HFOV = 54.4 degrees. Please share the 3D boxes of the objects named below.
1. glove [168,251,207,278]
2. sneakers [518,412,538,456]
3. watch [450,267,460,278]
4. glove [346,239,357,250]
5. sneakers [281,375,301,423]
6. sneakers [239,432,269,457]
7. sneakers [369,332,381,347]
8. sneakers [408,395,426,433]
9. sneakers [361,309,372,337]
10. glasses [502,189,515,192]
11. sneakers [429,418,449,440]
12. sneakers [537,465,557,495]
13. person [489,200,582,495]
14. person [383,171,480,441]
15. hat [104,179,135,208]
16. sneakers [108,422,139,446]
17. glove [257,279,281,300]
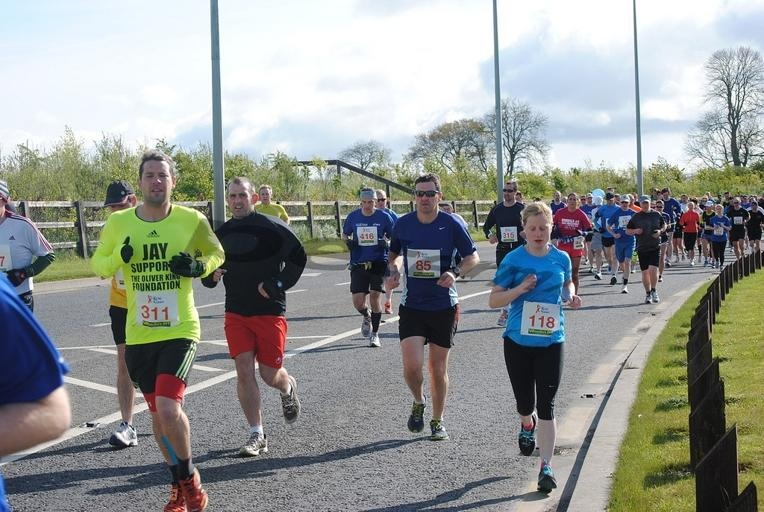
[{"bbox_3d":[-1.501,0.069,5.623,0.219,0.174,0.103,28,-10,-9],"label":"glove"},{"bbox_3d":[1.246,1.529,6.291,0.126,0.385,0.164,7,14,23],"label":"sneakers"},{"bbox_3d":[0.697,0.146,7.065,0.069,0.111,0.100,-10,-20,-18],"label":"watch"},{"bbox_3d":[-0.508,-0.178,11.417,0.133,0.157,0.157,-7,-13,39],"label":"glove"},{"bbox_3d":[-0.869,1.408,7.155,0.170,0.485,0.206,-5,16,6],"label":"sneakers"},{"bbox_3d":[-1.148,1.694,6.681,0.112,0.153,0.319,-2,-12,21],"label":"sneakers"},{"bbox_3d":[-0.130,1.210,10.804,0.138,0.158,0.358,-1,-5,4],"label":"sneakers"},{"bbox_3d":[0.315,1.486,7.017,0.125,0.364,0.151,4,-13,10],"label":"sneakers"},{"bbox_3d":[-0.258,1.032,11.349,0.145,0.460,0.192,-2,-6,-2],"label":"sneakers"},{"bbox_3d":[2.157,-1.127,12.754,0.193,0.078,0.119,2,6,26],"label":"glasses"},{"bbox_3d":[0.526,1.635,7.003,0.136,0.153,0.330,-1,-8,2],"label":"sneakers"},{"bbox_3d":[1.317,1.764,5.913,0.163,0.212,0.127,-1,5,3],"label":"sneakers"},{"bbox_3d":[1.262,0.692,6.229,0.696,2.278,0.866,1,5,20],"label":"person"},{"bbox_3d":[0.451,0.453,7.143,0.806,2.456,0.773,-1,5,0],"label":"person"},{"bbox_3d":[-2.497,-0.581,6.972,0.167,0.146,0.265,-1,8,13],"label":"hat"},{"bbox_3d":[-2.400,1.643,6.774,0.128,0.177,0.345,-3,-16,7],"label":"sneakers"},{"bbox_3d":[-1.042,0.302,6.802,0.185,0.141,0.108,2,14,12],"label":"glove"}]
